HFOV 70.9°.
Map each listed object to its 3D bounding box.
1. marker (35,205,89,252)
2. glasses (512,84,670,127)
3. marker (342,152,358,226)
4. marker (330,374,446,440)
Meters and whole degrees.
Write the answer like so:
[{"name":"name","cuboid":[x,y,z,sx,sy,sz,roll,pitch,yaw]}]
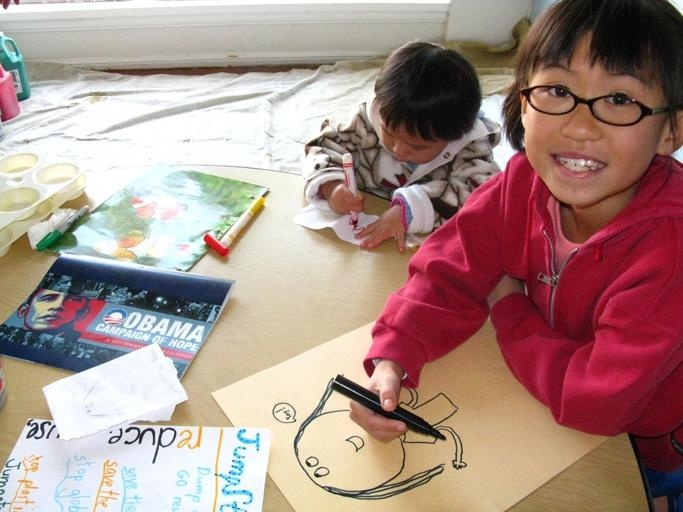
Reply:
[{"name":"marker","cuboid":[-0.549,-0.056,0.949,0.023,0.015,0.128,-18,31,50]},{"name":"glasses","cuboid":[0.321,-0.193,0.617,0.179,0.042,0.053,17,40,18]},{"name":"marker","cuboid":[0.008,-0.143,1.036,0.026,0.026,0.182,-10,80,13]},{"name":"marker","cuboid":[0.063,0.206,0.646,0.162,0.046,0.036,11,39,11]}]
